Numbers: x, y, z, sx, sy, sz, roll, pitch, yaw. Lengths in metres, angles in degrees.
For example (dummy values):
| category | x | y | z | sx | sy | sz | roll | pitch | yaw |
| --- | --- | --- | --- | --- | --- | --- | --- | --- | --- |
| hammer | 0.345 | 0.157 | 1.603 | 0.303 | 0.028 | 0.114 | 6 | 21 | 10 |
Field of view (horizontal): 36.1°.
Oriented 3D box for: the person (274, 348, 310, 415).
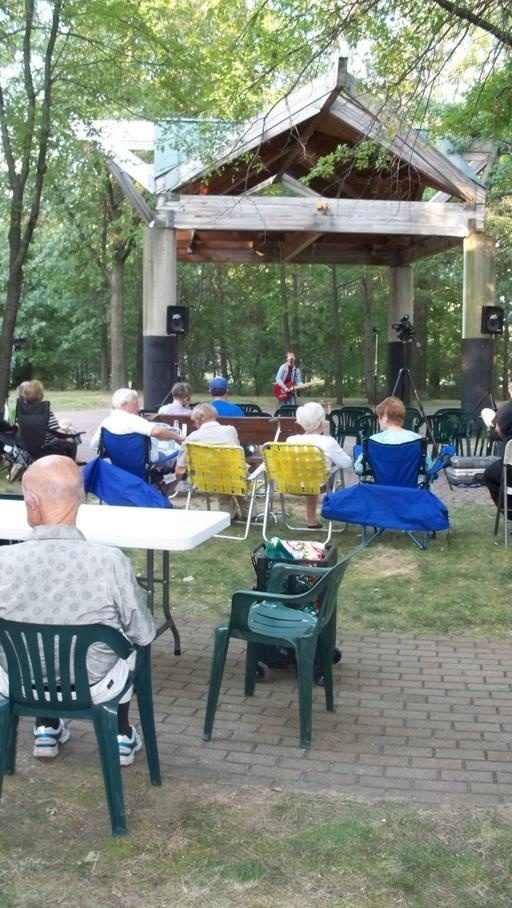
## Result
| category | x | y | z | sx | sy | sz | roll | pitch | yaw |
| --- | --- | --- | --- | --- | --- | --- | --- | --- | --- |
| person | 0.665 | -1.254 | 14.901 | 0.594 | 1.525 | 0.363 | 7 | 39 | 4 |

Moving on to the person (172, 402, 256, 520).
| category | x | y | z | sx | sy | sz | roll | pitch | yaw |
| --- | --- | --- | --- | --- | --- | --- | --- | --- | --- |
| person | -0.362 | 0.059 | 6.628 | 0.567 | 1.252 | 0.858 | -9 | 37 | -5 |

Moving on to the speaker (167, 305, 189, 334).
| category | x | y | z | sx | sy | sz | roll | pitch | yaw |
| --- | --- | --- | --- | --- | --- | --- | --- | --- | --- |
| speaker | -1.305 | -2.236 | 13.069 | 0.315 | 0.476 | 0.595 | -1 | 5 | -8 |

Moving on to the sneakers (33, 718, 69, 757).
| category | x | y | z | sx | sy | sz | roll | pitch | yaw |
| --- | --- | --- | --- | --- | --- | --- | --- | --- | --- |
| sneakers | -0.742 | 1.031 | 2.846 | 0.062 | 0.080 | 0.167 | 0 | 5 | 1 |

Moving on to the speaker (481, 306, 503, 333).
| category | x | y | z | sx | sy | sz | roll | pitch | yaw |
| --- | --- | --- | --- | --- | --- | --- | --- | --- | --- |
| speaker | 4.144 | -2.367 | 13.816 | 0.362 | 0.474 | 0.335 | 1 | 5 | 11 |
